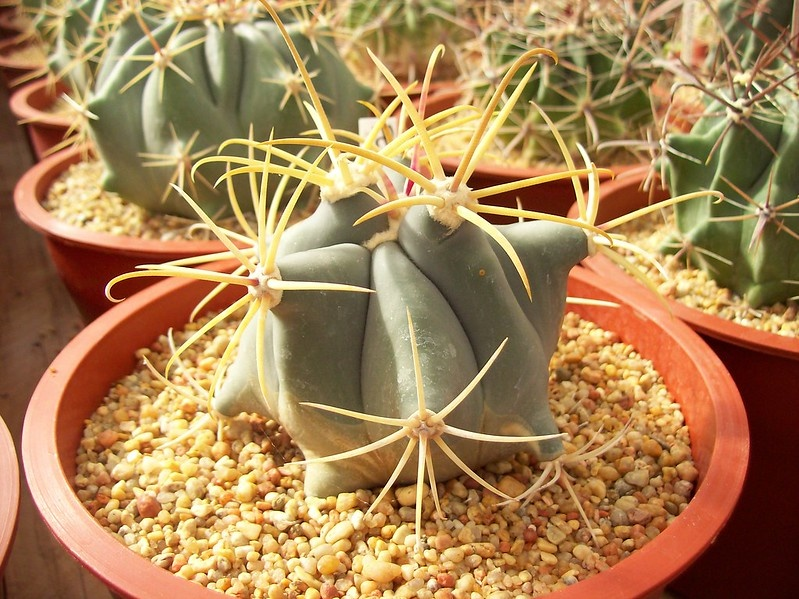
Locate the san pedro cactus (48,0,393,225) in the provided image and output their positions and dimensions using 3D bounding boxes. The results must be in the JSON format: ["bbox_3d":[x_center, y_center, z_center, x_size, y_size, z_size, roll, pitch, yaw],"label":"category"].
[{"bbox_3d":[-0.408,-0.440,1.740,0.530,0.417,0.564,-2,36,9],"label":"san pedro cactus"}]
